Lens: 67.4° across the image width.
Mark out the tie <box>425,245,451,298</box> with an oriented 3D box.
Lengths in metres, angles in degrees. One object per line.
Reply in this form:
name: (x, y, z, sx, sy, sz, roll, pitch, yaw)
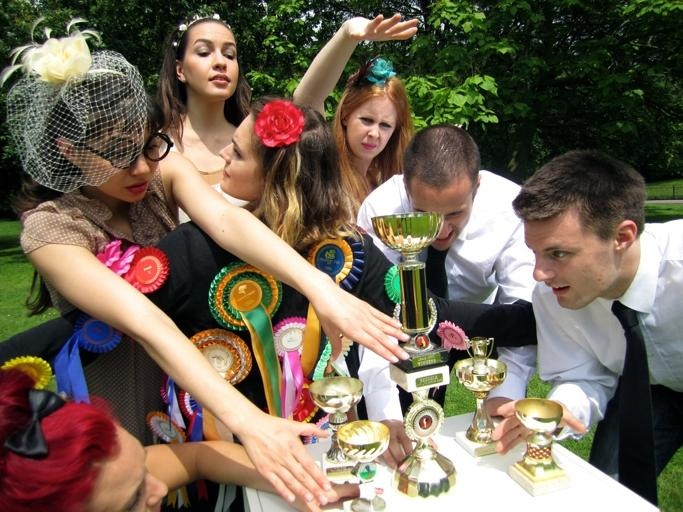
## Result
tie: (0.589, 0.115, 3.212, 0.090, 0.463, 0.128, -1, 0, -2)
